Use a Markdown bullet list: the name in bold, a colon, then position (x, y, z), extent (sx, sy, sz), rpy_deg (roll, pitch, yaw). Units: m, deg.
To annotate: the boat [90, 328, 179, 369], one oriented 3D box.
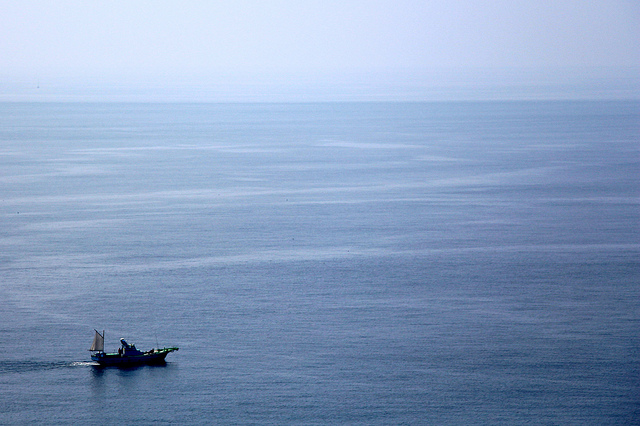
- **boat**: position (-15.976, 10.424, 125.262), extent (9.333, 3.012, 2.271), rpy_deg (-2, 5, -7)
